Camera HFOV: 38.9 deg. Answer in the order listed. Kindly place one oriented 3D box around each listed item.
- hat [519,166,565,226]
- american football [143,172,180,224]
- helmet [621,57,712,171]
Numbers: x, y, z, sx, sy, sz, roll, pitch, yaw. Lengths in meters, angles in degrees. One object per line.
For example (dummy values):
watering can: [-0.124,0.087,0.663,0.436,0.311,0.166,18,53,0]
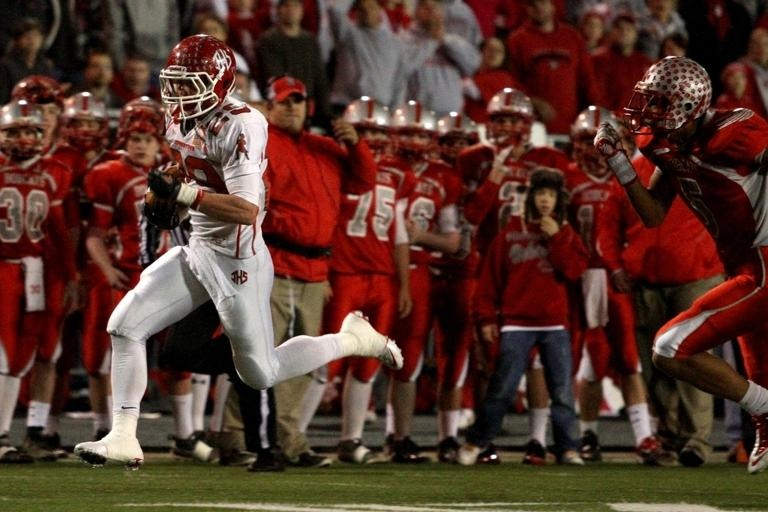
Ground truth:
hat: [1.121,-0.397,7.492,0.377,0.465,0.359,1,-9,-2]
american football: [-1.214,-0.299,5.981,0.236,0.283,0.206,6,-18,-6]
helmet: [1.725,-0.956,6.480,0.541,0.413,0.423,-14,18,-29]
